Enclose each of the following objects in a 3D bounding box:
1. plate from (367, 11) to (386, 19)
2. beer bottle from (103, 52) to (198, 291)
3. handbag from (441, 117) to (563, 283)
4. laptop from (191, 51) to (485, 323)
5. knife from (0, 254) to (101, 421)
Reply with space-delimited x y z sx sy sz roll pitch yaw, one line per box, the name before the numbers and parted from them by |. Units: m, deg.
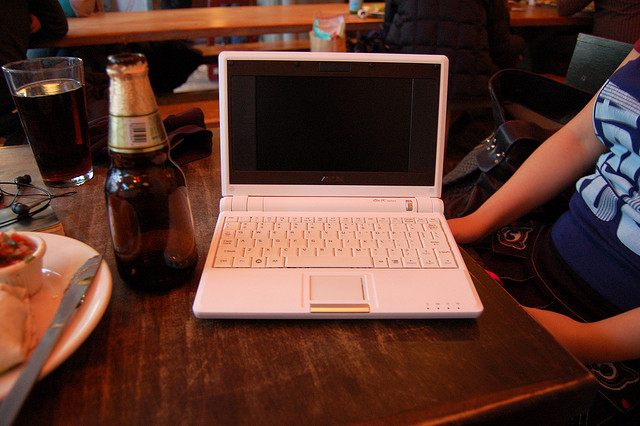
plate | 0.321 -1.100 2.602 0.067 0.027 0.148 -8 36 -15
beer bottle | -0.300 -0.061 0.819 0.155 0.398 0.138 0 23 3
handbag | 0.522 -0.144 1.374 0.241 0.294 0.407 22 24 19
laptop | 0.036 -0.058 0.824 0.487 0.330 0.367 -1 39 -4
knife | -0.409 0.187 0.739 0.039 0.015 0.275 15 40 0
